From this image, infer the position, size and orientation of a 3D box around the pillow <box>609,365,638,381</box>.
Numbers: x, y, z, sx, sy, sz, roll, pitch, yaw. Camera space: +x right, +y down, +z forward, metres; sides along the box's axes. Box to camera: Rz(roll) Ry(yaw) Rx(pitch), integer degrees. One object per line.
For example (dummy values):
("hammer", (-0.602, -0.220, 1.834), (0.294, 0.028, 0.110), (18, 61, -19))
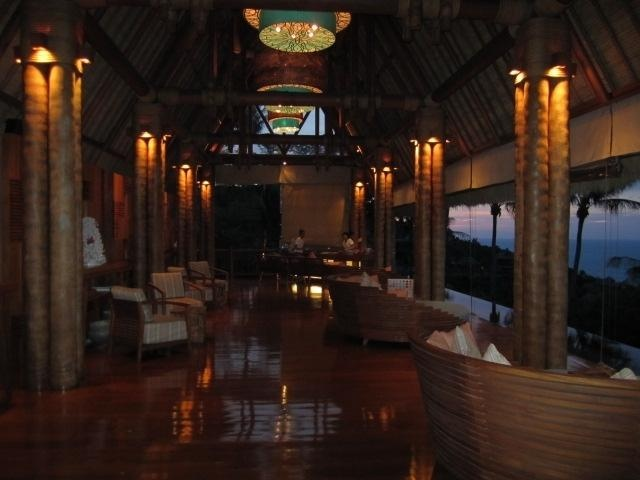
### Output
("pillow", (2.230, 0.988, 4.299), (0.191, 0.070, 0.145), (-2, -1, -18))

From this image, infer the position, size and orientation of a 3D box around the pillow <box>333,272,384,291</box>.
("pillow", (0.588, 0.613, 8.839), (0.487, 0.194, 0.386), (2, -3, -1))

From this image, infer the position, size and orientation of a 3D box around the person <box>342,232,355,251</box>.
("person", (0.918, 0.045, 18.604), (0.315, 0.734, 0.246), (-20, -32, 35))
